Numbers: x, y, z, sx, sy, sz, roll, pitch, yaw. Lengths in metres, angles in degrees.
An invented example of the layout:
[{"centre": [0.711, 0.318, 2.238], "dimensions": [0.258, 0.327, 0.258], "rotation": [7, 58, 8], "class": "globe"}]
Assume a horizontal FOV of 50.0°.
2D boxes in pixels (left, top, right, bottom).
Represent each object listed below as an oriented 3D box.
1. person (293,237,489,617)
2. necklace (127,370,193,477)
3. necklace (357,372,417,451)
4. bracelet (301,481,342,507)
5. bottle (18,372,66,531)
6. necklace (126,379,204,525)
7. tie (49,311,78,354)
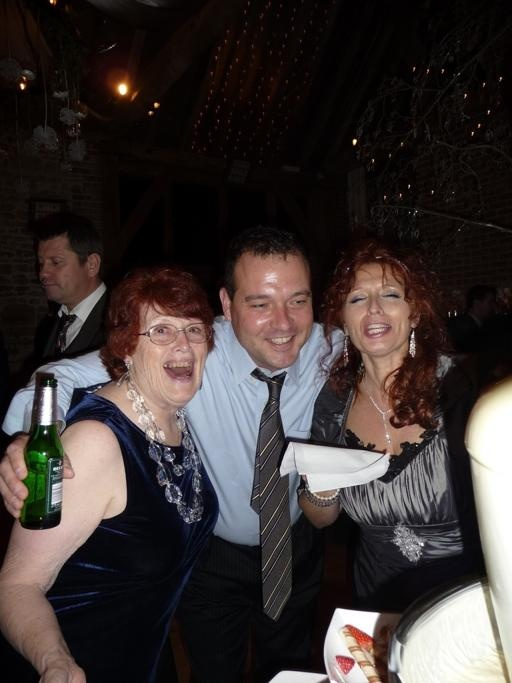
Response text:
[{"centre": [0.542, 0.298, 1.953], "dimensions": [0.403, 1.300, 0.763], "rotation": [-3, 9, -36], "class": "person"}, {"centre": [-0.332, 0.260, 1.639], "dimensions": [0.033, 0.290, 0.209], "rotation": [-37, -20, 21], "class": "necklace"}, {"centre": [0.483, 0.262, 2.002], "dimensions": [0.109, 0.317, 0.024], "rotation": [-34, -52, 25], "class": "necklace"}, {"centre": [0.219, 0.528, 1.861], "dimensions": [0.149, 0.062, 0.126], "rotation": [-1, 1, 5], "class": "bracelet"}, {"centre": [-0.485, 0.244, 1.253], "dimensions": [0.092, 0.344, 0.267], "rotation": [0, 8, -20], "class": "bottle"}, {"centre": [-0.285, 0.345, 1.648], "dimensions": [0.070, 0.399, 0.251], "rotation": [-31, -23, 21], "class": "necklace"}, {"centre": [-1.241, -0.071, 3.561], "dimensions": [0.089, 0.294, 0.223], "rotation": [13, -12, -37], "class": "tie"}]
